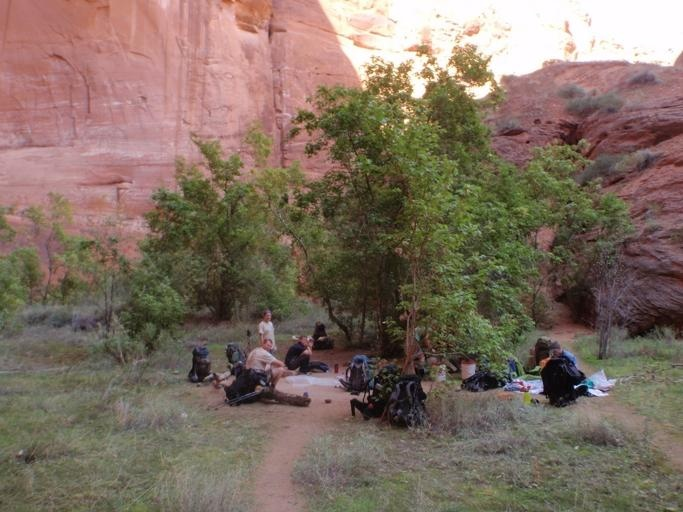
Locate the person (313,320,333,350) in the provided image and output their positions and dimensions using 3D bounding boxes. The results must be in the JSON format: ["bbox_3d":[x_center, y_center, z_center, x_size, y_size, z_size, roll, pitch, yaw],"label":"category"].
[{"bbox_3d":[-0.800,3.220,23.559,1.085,1.239,0.901,-1,-21,-4],"label":"person"}]

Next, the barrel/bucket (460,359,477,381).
[{"bbox_3d":[3.661,3.342,17.708,0.525,0.644,0.540,0,-5,0],"label":"barrel/bucket"}]

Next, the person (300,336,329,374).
[{"bbox_3d":[-0.962,3.179,19.615,1.182,1.404,0.677,-8,-6,14],"label":"person"}]

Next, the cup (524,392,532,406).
[{"bbox_3d":[4.932,3.734,15.838,0.187,0.290,0.449,-7,-11,28],"label":"cup"}]

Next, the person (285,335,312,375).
[{"bbox_3d":[-1.357,3.208,19.560,0.863,1.316,0.776,1,-2,-10],"label":"person"}]

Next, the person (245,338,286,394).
[{"bbox_3d":[-2.151,3.059,17.007,1.174,1.441,1.055,-1,3,-29],"label":"person"}]

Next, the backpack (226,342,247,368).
[{"bbox_3d":[-3.263,3.020,18.278,0.523,0.959,0.362,0,0,-7],"label":"backpack"}]
